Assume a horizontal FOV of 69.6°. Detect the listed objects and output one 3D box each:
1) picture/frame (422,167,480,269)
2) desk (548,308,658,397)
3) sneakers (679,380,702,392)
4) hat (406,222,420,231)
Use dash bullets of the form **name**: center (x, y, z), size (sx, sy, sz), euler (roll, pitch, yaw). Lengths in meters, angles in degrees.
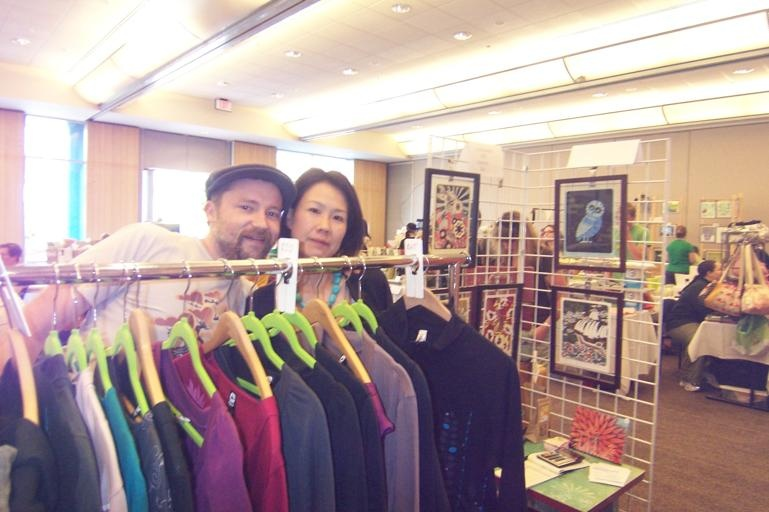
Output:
- **picture/frame**: center (0.384, -0.211, 3.231), size (0.646, 0.711, 0.034), euler (0, 1, -44)
- **desk**: center (2.773, 1.066, 6.332), size (0.857, 0.761, 0.921), euler (-10, -11, 18)
- **sneakers**: center (3.618, 1.535, 6.597), size (0.088, 0.069, 0.176), euler (-4, 12, -25)
- **hat**: center (0.407, -0.401, 7.897), size (0.178, 0.050, 0.174), euler (9, 1, 15)
